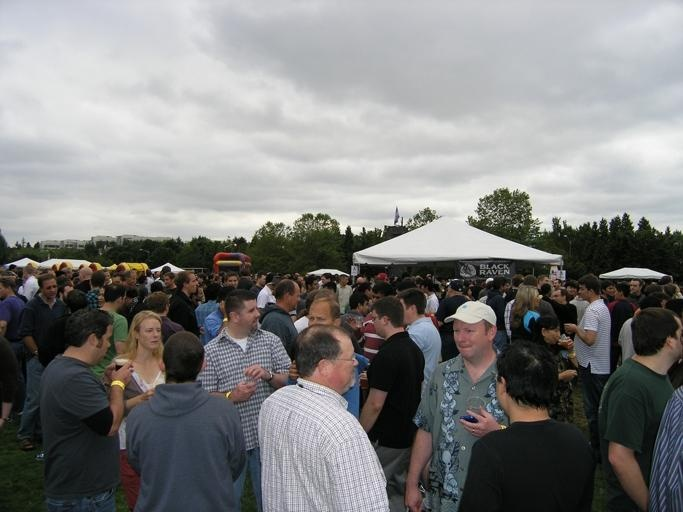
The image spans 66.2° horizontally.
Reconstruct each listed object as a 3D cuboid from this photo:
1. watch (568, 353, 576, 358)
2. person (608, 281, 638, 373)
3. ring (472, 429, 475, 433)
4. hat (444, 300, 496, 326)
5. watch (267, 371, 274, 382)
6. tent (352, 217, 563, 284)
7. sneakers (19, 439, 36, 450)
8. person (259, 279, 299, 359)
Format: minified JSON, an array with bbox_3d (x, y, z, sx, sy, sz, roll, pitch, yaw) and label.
[{"bbox_3d":[3.165,1.370,7.259,0.104,0.086,0.103,9,-11,-40],"label":"watch"},{"bbox_3d":[4.557,1.242,8.699,0.459,1.634,0.479,-1,16,7],"label":"person"},{"bbox_3d":[0.955,1.270,3.818,0.022,0.011,0.030,-3,-6,5],"label":"ring"},{"bbox_3d":[1.116,0.499,4.340,0.304,0.151,0.224,6,-13,-37],"label":"hat"},{"bbox_3d":[-0.667,1.127,4.918,0.065,0.041,0.095,-4,-1,-1],"label":"watch"},{"bbox_3d":[2.967,-0.295,14.540,4.948,1.271,2.179,2,1,-1],"label":"tent"},{"bbox_3d":[-4.400,2.645,7.376,0.178,0.118,0.235,1,2,-39],"label":"sneakers"},{"bbox_3d":[-0.723,0.750,6.202,0.367,1.388,0.622,-5,8,-12],"label":"person"}]
